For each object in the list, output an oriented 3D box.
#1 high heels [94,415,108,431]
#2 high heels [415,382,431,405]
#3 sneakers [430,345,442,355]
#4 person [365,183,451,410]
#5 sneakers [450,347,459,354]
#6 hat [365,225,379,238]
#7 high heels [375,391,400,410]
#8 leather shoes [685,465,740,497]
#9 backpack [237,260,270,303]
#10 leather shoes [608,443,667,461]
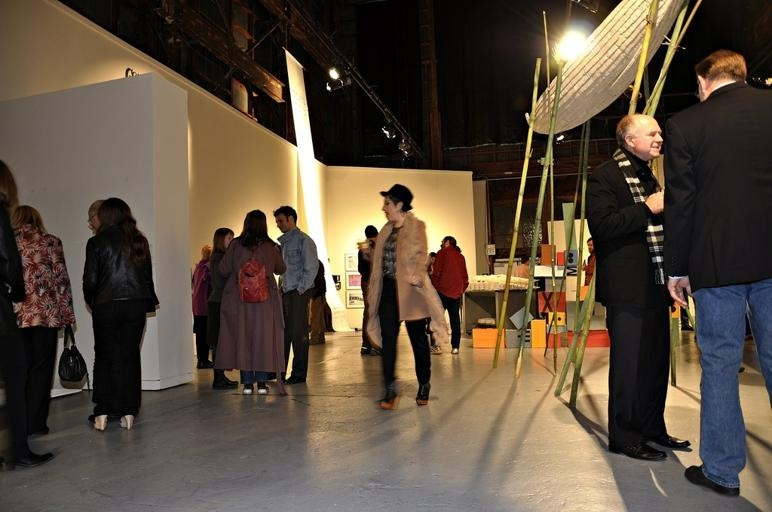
[{"bbox_3d":[-2.379,1.374,4.751,0.065,0.085,0.187,0,1,-13],"label":"high heels"},{"bbox_3d":[0.347,1.259,5.257,0.122,0.162,0.363,-2,-13,10],"label":"high heels"},{"bbox_3d":[0.739,1.341,8.247,0.094,0.131,0.294,0,2,0],"label":"sneakers"},{"bbox_3d":[0.184,0.356,5.195,0.718,1.993,0.436,-1,1,5],"label":"person"},{"bbox_3d":[0.988,1.341,8.135,0.065,0.076,0.197,-1,-11,4],"label":"sneakers"},{"bbox_3d":[-0.221,-0.356,8.558,0.197,0.213,0.186,-4,2,6],"label":"hat"},{"bbox_3d":[0.016,1.292,5.161,0.194,0.207,0.110,7,-9,-4],"label":"high heels"},{"bbox_3d":[1.981,1.356,3.467,0.100,0.117,0.273,0,9,-33],"label":"leather shoes"},{"bbox_3d":[-1.325,0.250,5.714,0.295,0.448,0.137,-5,-14,-11],"label":"backpack"},{"bbox_3d":[1.734,1.304,3.911,0.317,0.127,0.116,-6,-7,27],"label":"leather shoes"}]
